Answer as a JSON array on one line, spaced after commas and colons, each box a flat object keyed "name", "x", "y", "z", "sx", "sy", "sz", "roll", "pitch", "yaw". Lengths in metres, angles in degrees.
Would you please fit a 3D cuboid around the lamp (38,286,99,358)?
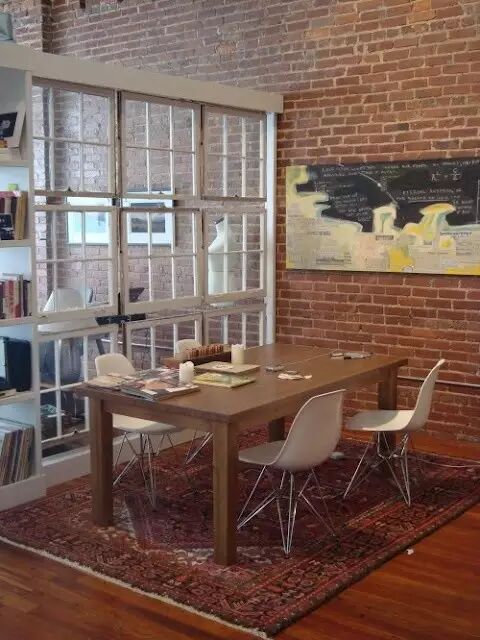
[{"name": "lamp", "x": -1.086, "y": -0.029, "z": 3.433, "sx": 0.351, "sy": 0.389, "sz": 0.308, "roll": 7, "pitch": 11, "yaw": 38}]

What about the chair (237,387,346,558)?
[{"name": "chair", "x": 0.195, "y": 0.678, "z": 2.515, "sx": 0.362, "sy": 0.538, "sz": 0.409, "roll": 0, "pitch": -2, "yaw": -25}]

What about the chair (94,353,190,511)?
[{"name": "chair", "x": -0.628, "y": 0.698, "z": 3.343, "sx": 0.406, "sy": 0.532, "sz": 0.324, "roll": 12, "pitch": -14, "yaw": -22}]

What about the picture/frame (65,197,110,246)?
[{"name": "picture/frame", "x": -0.979, "y": -0.605, "z": 3.556, "sx": 0.455, "sy": 0.297, "sz": 0.016, "roll": 7, "pitch": 12, "yaw": 30}]
